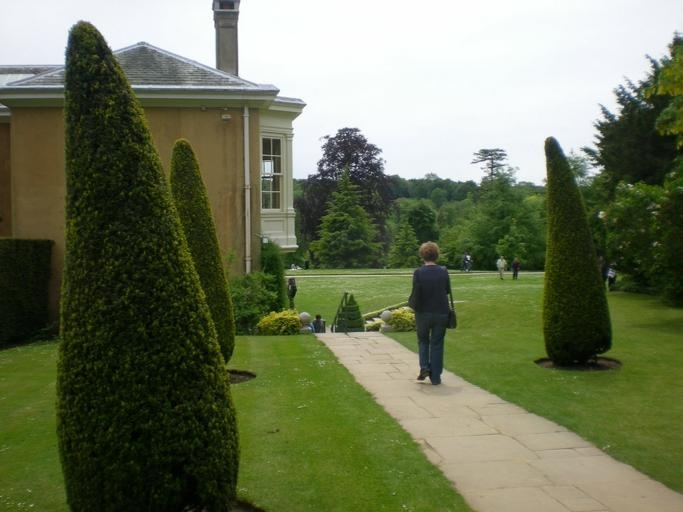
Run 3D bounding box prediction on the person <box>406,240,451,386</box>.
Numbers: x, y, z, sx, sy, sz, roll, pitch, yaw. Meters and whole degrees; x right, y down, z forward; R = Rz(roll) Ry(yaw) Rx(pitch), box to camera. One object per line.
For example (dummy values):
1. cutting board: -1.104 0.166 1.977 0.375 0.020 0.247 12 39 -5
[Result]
1. person: 1.340 0.841 9.489 0.624 2.003 0.790 -3 0 6
